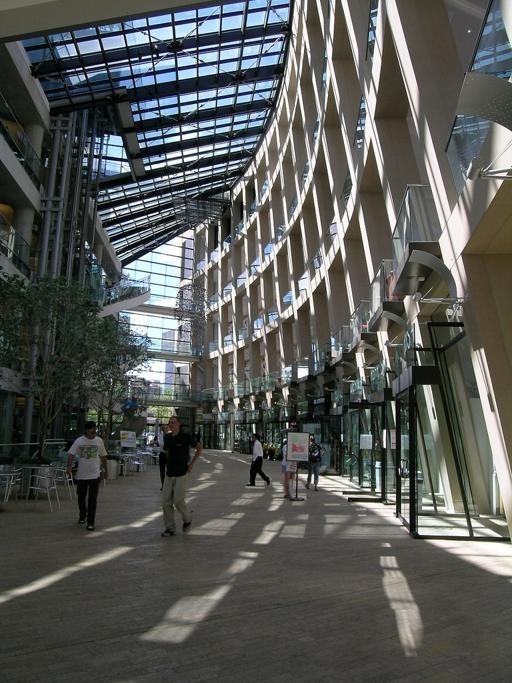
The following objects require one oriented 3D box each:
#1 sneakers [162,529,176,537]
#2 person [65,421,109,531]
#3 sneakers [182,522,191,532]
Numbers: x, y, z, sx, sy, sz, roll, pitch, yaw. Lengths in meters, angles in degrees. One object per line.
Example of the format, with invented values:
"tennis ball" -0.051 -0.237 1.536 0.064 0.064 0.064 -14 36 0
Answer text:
"sneakers" -1.432 3.171 7.061 0.233 0.101 0.232 6 -17 -15
"person" -3.127 2.466 7.918 0.666 1.859 1.121 6 -15 -21
"sneakers" -1.222 3.290 7.588 0.067 0.258 0.155 9 -5 17
